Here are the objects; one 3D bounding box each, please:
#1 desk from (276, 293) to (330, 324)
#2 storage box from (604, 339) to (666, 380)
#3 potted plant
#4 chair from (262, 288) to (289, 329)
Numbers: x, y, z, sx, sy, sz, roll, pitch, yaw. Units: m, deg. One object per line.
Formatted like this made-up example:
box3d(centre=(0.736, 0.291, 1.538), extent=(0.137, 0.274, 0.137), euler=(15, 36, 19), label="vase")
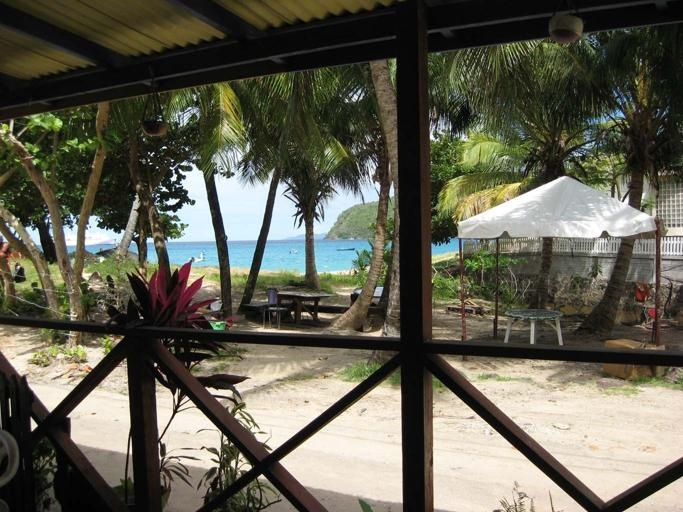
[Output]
box3d(centre=(-1.006, 1.194, 13.909), extent=(0.925, 0.617, 0.951), euler=(4, 5, 36), label="desk")
box3d(centre=(4.925, 1.775, 8.906), extent=(1.002, 0.688, 1.759), euler=(-2, -5, 32), label="storage box")
box3d(centre=(-1.246, 0.962, 3.888), extent=(0.953, 1.855, 1.671), euler=(2, -5, -23), label="potted plant")
box3d(centre=(-1.759, 1.377, 13.832), extent=(0.610, 1.010, 1.559), euler=(1, -4, -9), label="chair")
